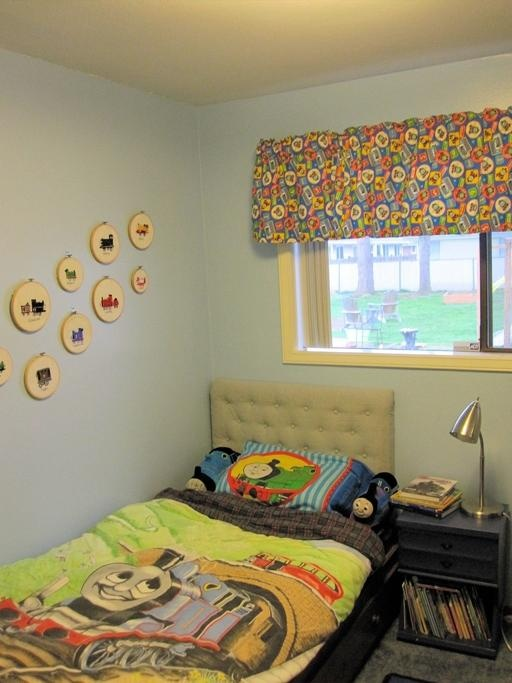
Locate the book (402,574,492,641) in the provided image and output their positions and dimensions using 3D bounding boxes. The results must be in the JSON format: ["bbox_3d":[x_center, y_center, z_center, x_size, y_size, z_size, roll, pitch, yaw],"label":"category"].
[{"bbox_3d":[0.834,1.173,2.619,0.296,0.090,0.281,5,4,12],"label":"book"}]

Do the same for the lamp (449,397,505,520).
[{"bbox_3d":[0.982,0.509,2.658,0.229,0.541,0.481,0,7,19],"label":"lamp"}]

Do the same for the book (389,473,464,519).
[{"bbox_3d":[0.741,0.692,2.686,0.180,0.058,0.197,-2,6,42],"label":"book"}]

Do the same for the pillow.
[{"bbox_3d":[0.191,0.662,2.937,0.523,0.114,0.299,5,19,31],"label":"pillow"}]

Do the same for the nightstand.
[{"bbox_3d":[0.876,1.033,2.694,0.437,0.575,0.340,1,8,25],"label":"nightstand"}]
